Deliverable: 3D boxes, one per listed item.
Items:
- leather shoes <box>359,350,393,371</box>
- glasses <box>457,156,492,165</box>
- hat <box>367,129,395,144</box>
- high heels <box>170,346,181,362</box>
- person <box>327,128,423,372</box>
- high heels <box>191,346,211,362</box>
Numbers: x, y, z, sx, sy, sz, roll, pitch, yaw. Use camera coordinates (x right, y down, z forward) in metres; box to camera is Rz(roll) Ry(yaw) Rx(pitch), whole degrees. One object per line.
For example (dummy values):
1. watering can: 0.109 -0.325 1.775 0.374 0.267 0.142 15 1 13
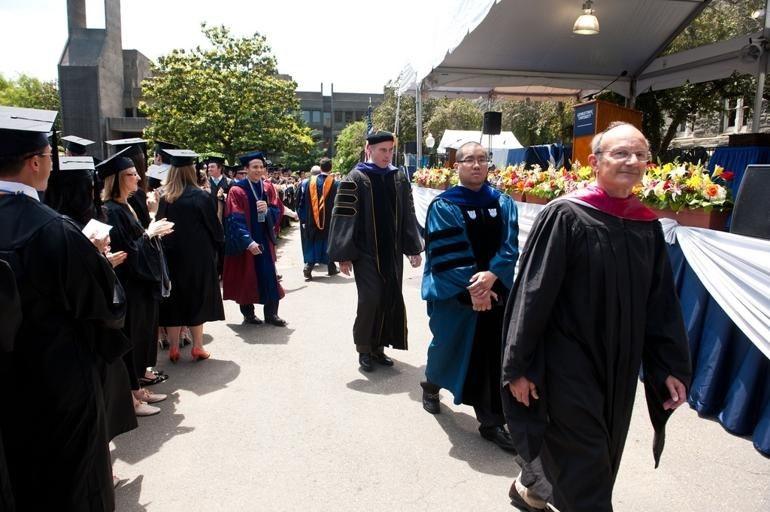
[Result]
1. leather shoes: -0.102 1.175 6.218 0.341 0.130 0.191 -4 8 -26
2. glasses: 0.767 -0.837 4.841 0.259 0.070 0.145 1 13 6
3. hat: -0.063 -1.306 6.073 0.301 0.146 0.296 -1 13 -3
4. high heels: -2.451 1.106 6.335 0.118 0.170 0.202 -6 14 -21
5. person: -0.096 -0.072 6.164 0.929 2.576 0.861 4 15 18
6. high heels: -2.165 1.126 6.367 0.095 0.143 0.281 1 8 6
